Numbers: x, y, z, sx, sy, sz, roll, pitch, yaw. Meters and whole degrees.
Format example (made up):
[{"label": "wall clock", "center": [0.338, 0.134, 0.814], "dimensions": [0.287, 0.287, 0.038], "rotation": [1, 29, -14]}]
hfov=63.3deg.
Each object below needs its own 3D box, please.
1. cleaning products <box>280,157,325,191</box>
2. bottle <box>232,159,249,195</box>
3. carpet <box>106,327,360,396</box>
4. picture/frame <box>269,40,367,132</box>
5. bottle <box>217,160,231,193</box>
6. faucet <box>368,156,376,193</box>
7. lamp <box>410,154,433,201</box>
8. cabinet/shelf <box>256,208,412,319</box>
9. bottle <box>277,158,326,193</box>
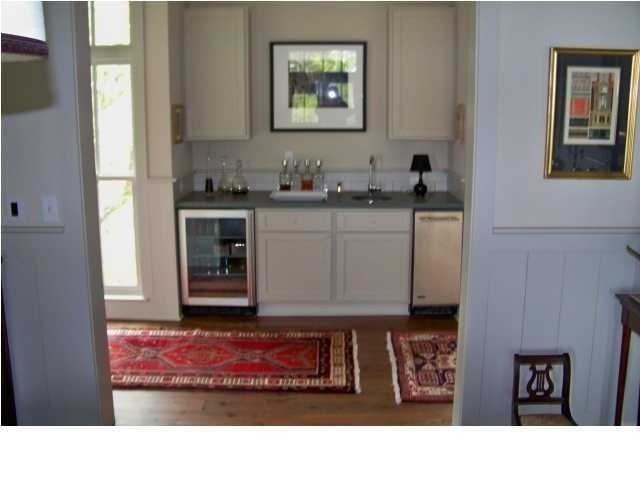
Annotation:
[{"label": "cleaning products", "center": [-0.164, -0.576, 4.613], "dimensions": [0.312, 0.305, 0.106], "rotation": [0, 3, -3]}, {"label": "bottle", "center": [-0.727, -0.566, 4.652], "dimensions": [0.144, 0.297, 0.198], "rotation": [-1, 8, -10]}, {"label": "carpet", "center": [-0.638, 0.826, 3.685], "dimensions": [1.824, 0.152, 0.817], "rotation": [0, 8, 3]}, {"label": "picture/frame", "center": [-0.024, -1.393, 4.573], "dimensions": [0.722, 0.709, 0.029], "rotation": [0, 11, -3]}, {"label": "bottle", "center": [-0.857, -0.569, 4.634], "dimensions": [0.112, 0.286, 0.203], "rotation": [-2, 8, -11]}, {"label": "faucet", "center": [0.476, -0.595, 4.667], "dimensions": [0.081, 0.334, 0.153], "rotation": [0, 8, 4]}, {"label": "lamp", "center": [0.886, -0.569, 4.569], "dimensions": [0.192, 0.369, 0.386], "rotation": [2, 8, 12]}, {"label": "cabinet/shelf", "center": [0.100, 0.288, 4.491], "dimensions": [1.455, 1.046, 0.800], "rotation": [0, 6, 1]}, {"label": "bottle", "center": [-0.165, -0.566, 4.605], "dimensions": [0.334, 0.326, 0.116], "rotation": [0, 2, -3]}]
